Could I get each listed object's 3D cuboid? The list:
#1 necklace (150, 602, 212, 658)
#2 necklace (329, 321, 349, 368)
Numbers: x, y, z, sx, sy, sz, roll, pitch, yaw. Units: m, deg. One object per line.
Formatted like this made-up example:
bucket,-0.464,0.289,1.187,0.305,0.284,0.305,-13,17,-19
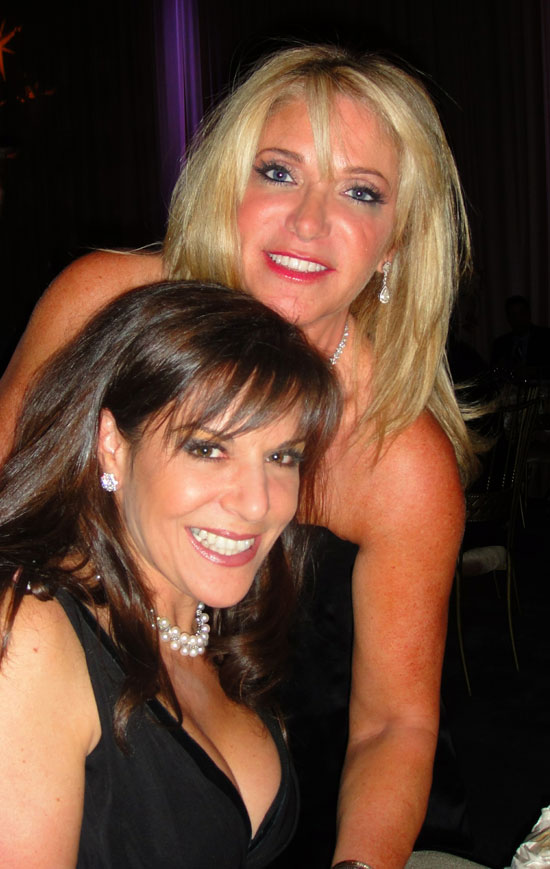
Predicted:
necklace,-0.200,0.424,1.615,0.041,0.139,0.116,-20,0,42
necklace,0.169,-0.244,2.034,0.032,0.139,0.010,17,-25,5
